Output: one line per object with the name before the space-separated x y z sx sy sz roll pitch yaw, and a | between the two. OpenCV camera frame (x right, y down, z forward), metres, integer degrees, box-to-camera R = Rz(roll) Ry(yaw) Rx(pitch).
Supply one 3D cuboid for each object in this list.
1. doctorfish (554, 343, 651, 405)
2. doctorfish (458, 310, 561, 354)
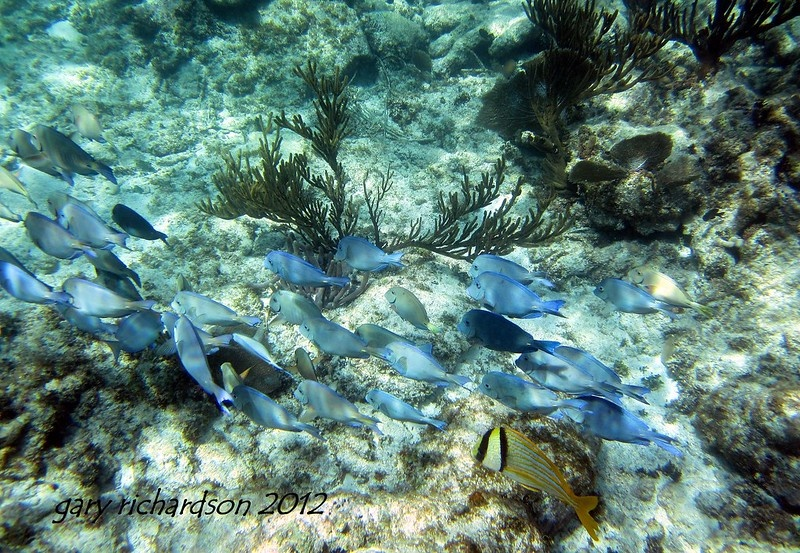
doctorfish | 2.886 1.416 9.407 1.235 0.540 0.289 39 34 29
doctorfish | 1.442 0.754 9.086 1.243 0.616 0.308 4 39 21
